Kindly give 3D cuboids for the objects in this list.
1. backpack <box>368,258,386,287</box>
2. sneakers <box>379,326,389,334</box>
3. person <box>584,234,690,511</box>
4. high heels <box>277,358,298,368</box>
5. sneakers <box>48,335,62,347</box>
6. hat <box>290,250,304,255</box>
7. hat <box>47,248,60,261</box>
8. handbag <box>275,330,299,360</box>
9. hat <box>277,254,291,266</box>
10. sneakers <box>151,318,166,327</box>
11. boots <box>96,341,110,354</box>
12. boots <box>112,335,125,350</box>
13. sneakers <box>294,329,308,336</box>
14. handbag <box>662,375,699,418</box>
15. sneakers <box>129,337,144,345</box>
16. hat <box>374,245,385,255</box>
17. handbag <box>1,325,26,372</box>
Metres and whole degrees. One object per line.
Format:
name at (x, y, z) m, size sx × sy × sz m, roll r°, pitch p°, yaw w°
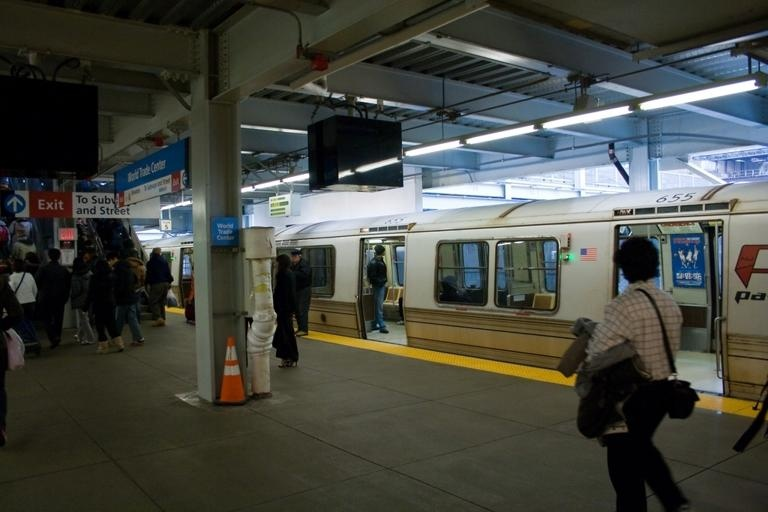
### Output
backpack at (-0.203, 0.440, 14.196) m, size 0.494 × 0.787 × 0.764 m, roll -6°, pitch 2°, yaw -19°
sneakers at (-0.039, 1.959, 14.635) m, size 0.120 × 0.125 × 0.318 m, roll 1°, pitch -7°, yaw -39°
person at (2.236, 1.031, 4.985) m, size 0.804 × 2.381 × 0.657 m, roll 0°, pitch 5°, yaw 14°
high heels at (-1.886, 2.105, 10.871) m, size 0.326 × 0.126 × 0.164 m, roll 14°, pitch -16°, yaw -41°
sneakers at (-7.444, 1.941, 12.593) m, size 0.190 × 0.285 × 0.229 m, roll -4°, pitch 6°, yaw -31°
hat at (-2.150, -0.072, 13.461) m, size 0.162 × 0.102 × 0.195 m, roll -3°, pitch 3°, yaw -40°
hat at (-7.723, -0.046, 13.009) m, size 0.289 × 0.308 × 0.322 m, roll 7°, pitch 7°, yaw -18°
handbag at (-1.928, 1.762, 10.825) m, size 0.434 × 0.643 × 0.285 m, roll -2°, pitch 5°, yaw -13°
hat at (-1.996, 0.097, 10.984) m, size 0.212 × 0.237 × 0.251 m, roll 3°, pitch -5°, yaw -23°
sneakers at (-6.523, 1.935, 15.990) m, size 0.497 × 0.209 × 0.185 m, roll -4°, pitch -2°, yaw 40°
boots at (-6.115, 1.969, 12.108) m, size 0.221 × 0.261 × 0.332 m, roll -4°, pitch 6°, yaw -27°
boots at (-5.939, 1.949, 12.407) m, size 0.282 × 0.238 × 0.382 m, roll 7°, pitch 23°, yaw -41°
sneakers at (-2.134, 1.985, 14.206) m, size 0.332 × 0.126 × 0.116 m, roll 5°, pitch -5°, yaw -23°
handbag at (2.615, 1.279, 5.008) m, size 0.304 × 0.343 × 0.381 m, roll 5°, pitch -9°, yaw -38°
sneakers at (-5.717, 1.978, 12.861) m, size 0.300 × 0.190 × 0.142 m, roll 3°, pitch 2°, yaw 44°
hat at (-0.117, -0.138, 14.622) m, size 0.216 × 0.243 × 0.240 m, roll -2°, pitch -32°, yaw 12°
handbag at (-4.715, 1.178, 7.103) m, size 0.197 × 0.517 × 0.296 m, roll -12°, pitch -13°, yaw -41°
